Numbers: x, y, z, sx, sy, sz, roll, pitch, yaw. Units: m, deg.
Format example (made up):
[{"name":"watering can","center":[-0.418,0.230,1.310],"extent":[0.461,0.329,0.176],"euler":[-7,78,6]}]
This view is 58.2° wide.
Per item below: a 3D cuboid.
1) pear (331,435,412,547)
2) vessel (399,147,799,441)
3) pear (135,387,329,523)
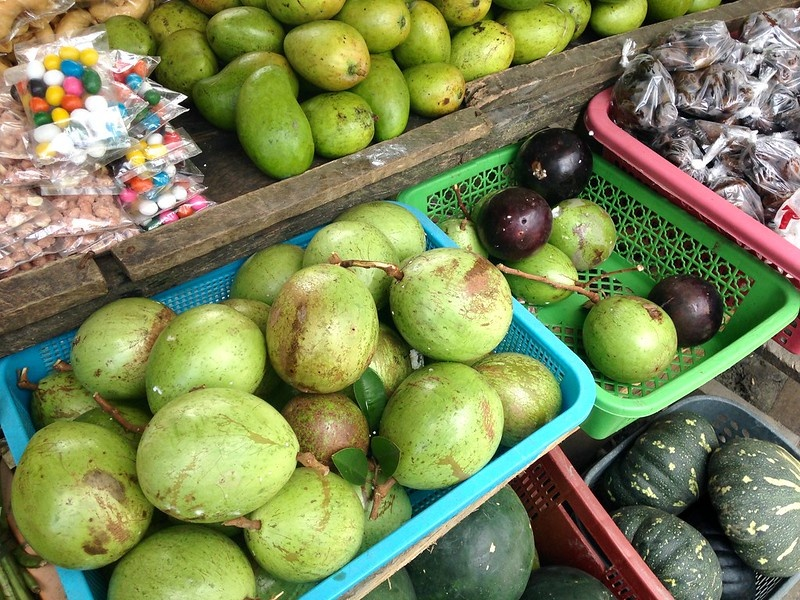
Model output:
[{"name":"pear","center":[-0.073,0.467,1.768],"extent":[0.151,0.214,0.162],"euler":[29,41,30]},{"name":"vessel","center":[0.732,-0.313,2.458],"extent":[0.996,0.421,1.226],"euler":[-31,70,-16]},{"name":"pear","center":[-0.431,0.370,1.709],"extent":[0.380,0.305,0.292],"euler":[-12,55,-29]}]
